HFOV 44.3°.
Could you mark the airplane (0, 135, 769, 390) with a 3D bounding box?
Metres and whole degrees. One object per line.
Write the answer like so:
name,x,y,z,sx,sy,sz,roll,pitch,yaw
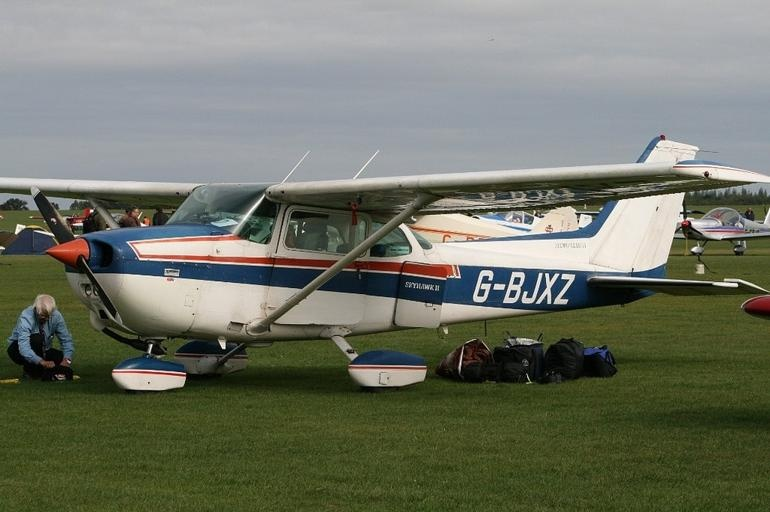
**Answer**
airplane,0.735,0.243,10.576,8.538,2.741,4.763,0,9,-15
